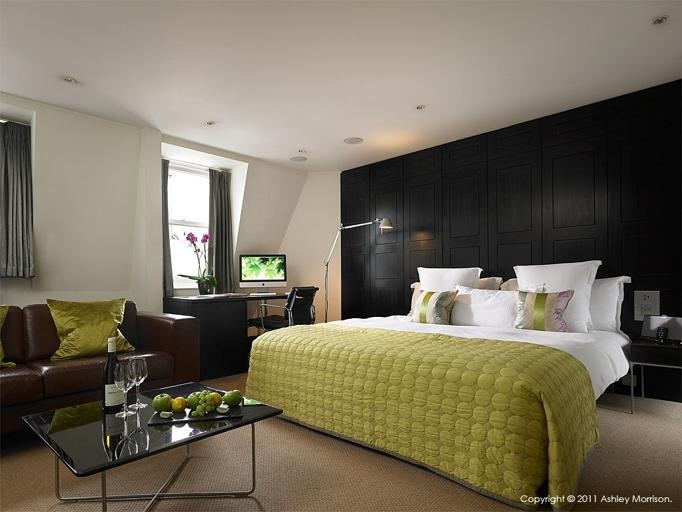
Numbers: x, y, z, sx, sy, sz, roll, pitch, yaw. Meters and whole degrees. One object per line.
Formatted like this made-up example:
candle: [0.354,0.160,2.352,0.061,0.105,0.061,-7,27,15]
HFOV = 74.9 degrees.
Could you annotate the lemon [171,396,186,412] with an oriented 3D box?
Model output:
lemon: [-0.983,0.910,2.754,0.084,0.101,0.082,5,15,-2]

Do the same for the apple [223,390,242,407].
apple: [-0.682,0.895,2.822,0.106,0.087,0.080,-4,15,-7]

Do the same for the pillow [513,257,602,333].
pillow: [1.931,0.367,3.949,0.223,0.518,0.580,12,-13,-40]

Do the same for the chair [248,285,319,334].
chair: [-0.742,0.673,5.418,0.777,0.843,0.629,0,-3,33]

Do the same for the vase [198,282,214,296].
vase: [-1.663,0.402,5.546,0.189,0.223,0.182,-2,-1,0]

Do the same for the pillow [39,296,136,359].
pillow: [-2.203,0.684,3.890,0.395,0.659,0.770,-28,-22,29]

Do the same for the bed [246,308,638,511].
bed: [0.696,0.949,3.024,1.455,0.445,1.486,1,-2,30]

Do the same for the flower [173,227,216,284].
flower: [-1.846,0.014,5.658,0.490,0.637,0.638,-4,7,-30]

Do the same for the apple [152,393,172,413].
apple: [-1.099,0.897,2.723,0.100,0.103,0.099,4,-9,-23]

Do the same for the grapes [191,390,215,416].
grapes: [-0.839,0.896,2.682,0.116,0.142,0.117,2,-13,-6]

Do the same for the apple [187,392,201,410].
apple: [-0.895,0.899,2.763,0.093,0.096,0.095,1,-5,-6]

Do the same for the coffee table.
coffee table: [-1.289,1.017,2.553,0.863,0.431,0.875,-4,-4,43]

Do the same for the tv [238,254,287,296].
tv: [-1.091,0.240,6.072,0.552,0.492,0.147,-1,-1,-16]
